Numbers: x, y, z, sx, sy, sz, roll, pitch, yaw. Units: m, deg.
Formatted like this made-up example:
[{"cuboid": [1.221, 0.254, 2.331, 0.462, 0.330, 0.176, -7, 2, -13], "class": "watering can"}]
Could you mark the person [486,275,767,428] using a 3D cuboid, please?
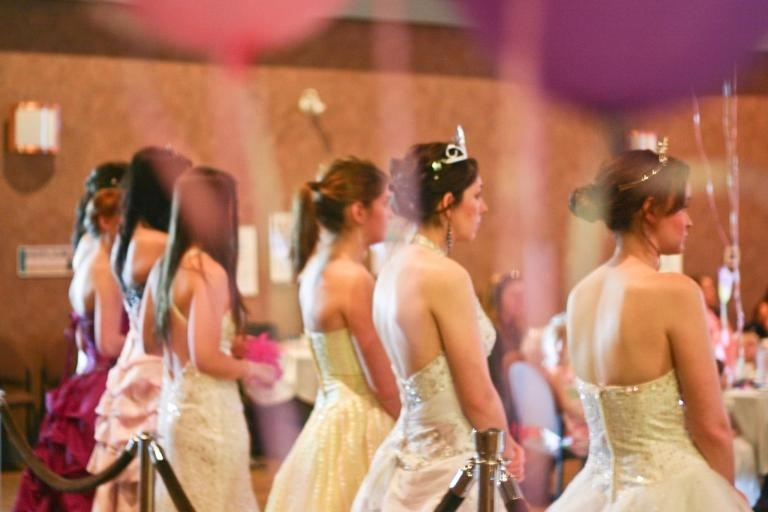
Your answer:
[{"cuboid": [1.308, 0.564, 5.252, 1.308, 1.290, 1.024, 1, -3, -17], "class": "person"}]
